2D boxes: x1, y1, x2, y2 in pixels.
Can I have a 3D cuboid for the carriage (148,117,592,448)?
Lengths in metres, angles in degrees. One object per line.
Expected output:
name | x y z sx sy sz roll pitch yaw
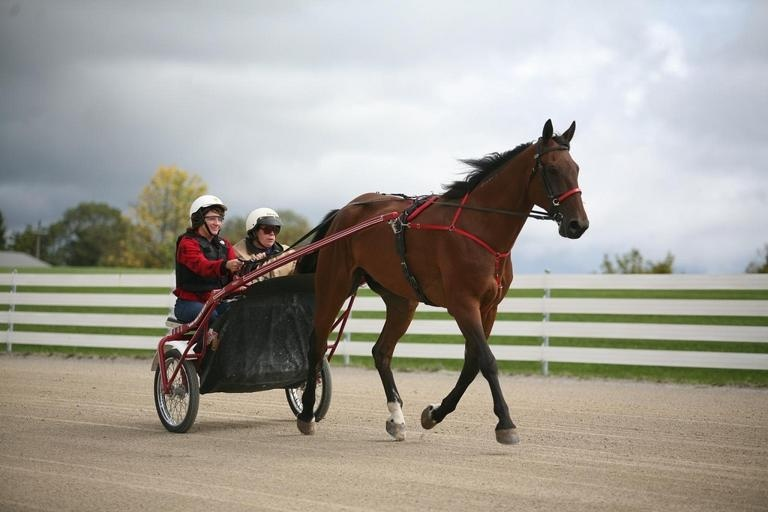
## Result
carriage | -0.559 0.280 12.257 6.456 4.435 2.587 -12 -15 37
